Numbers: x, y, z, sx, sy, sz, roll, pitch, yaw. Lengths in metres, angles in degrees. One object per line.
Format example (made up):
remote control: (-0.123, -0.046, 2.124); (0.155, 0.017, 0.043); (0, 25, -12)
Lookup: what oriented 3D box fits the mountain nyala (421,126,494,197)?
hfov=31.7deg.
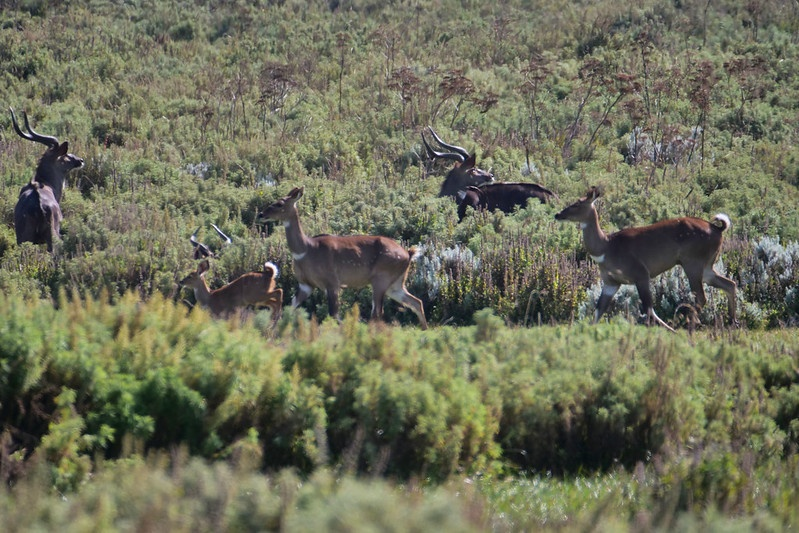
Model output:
mountain nyala: (1.832, -2.625, 41.847); (1.656, 3.244, 1.845); (-7, 0, 4)

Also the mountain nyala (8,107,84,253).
mountain nyala: (-9.667, -2.057, 38.344); (1.571, 2.686, 2.573); (4, 12, -8)
